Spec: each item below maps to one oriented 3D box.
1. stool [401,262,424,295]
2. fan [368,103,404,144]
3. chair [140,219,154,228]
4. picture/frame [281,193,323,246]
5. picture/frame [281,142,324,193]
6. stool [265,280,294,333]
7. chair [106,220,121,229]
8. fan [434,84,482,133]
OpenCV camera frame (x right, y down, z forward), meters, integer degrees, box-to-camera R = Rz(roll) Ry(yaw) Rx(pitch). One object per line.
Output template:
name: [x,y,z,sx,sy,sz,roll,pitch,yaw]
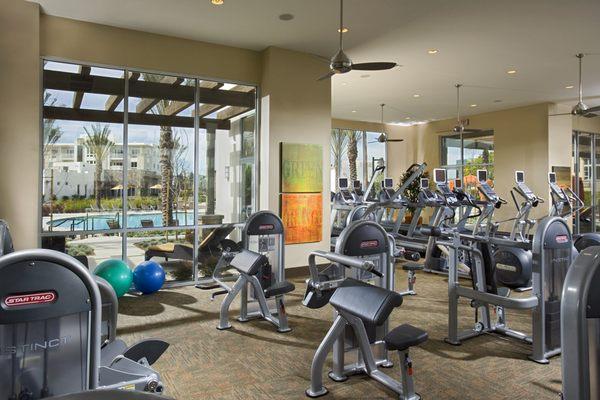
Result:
stool: [1.861,1.247,6.886,0.294,0.638,1.096,3,10,15]
fan: [2.717,-2.353,13.212,0.829,1.301,0.842,0,0,-42]
chair: [-2.532,0.386,6.959,0.134,0.126,0.157,-2,4,-19]
picture/frame: [0.076,0.331,7.730,0.895,0.969,0.200,-5,11,-30]
picture/frame: [0.043,-0.604,7.705,0.891,0.922,0.186,-6,11,-32]
stool: [-0.277,1.348,5.520,0.348,0.714,0.801,-1,9,-6]
chair: [-3.008,0.392,6.749,0.139,0.144,0.156,2,-6,-25]
fan: [4.072,-2.307,11.051,1.298,1.513,1.145,-3,-4,42]
